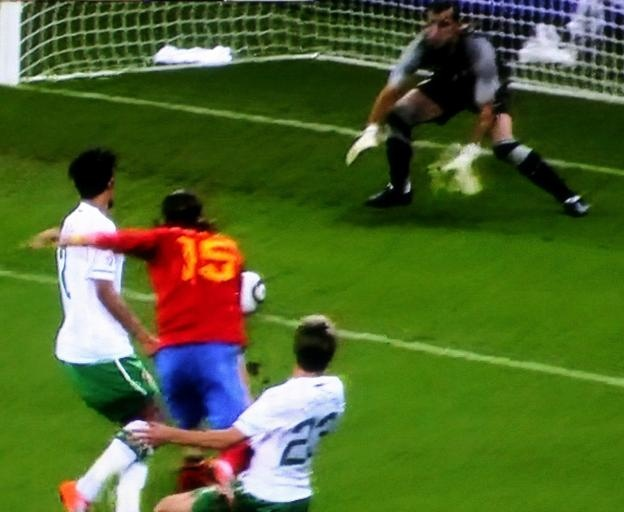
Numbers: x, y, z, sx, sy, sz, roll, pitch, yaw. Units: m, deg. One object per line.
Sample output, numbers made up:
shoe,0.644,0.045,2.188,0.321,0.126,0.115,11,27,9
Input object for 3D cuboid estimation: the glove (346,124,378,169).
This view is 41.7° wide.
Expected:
glove,0.369,-0.792,5.945,0.185,0.322,0.089,42,10,5

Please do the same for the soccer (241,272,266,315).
soccer,-0.387,0.235,5.097,0.130,0.223,0.211,-1,13,36

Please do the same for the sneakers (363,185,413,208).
sneakers,0.620,-0.450,6.435,0.432,0.280,0.131,4,56,5
